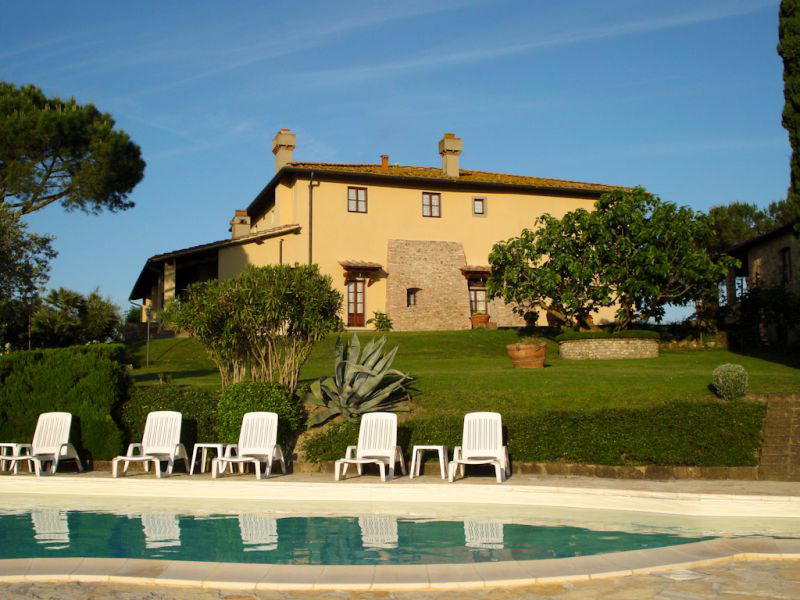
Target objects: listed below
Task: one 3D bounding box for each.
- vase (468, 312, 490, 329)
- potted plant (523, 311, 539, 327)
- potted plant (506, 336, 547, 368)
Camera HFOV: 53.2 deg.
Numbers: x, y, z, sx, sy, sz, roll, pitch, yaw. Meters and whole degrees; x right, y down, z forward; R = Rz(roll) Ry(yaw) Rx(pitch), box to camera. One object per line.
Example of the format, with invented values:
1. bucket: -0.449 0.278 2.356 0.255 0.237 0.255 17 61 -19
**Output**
1. vase: 3.768 1.004 38.231 0.677 0.518 0.726 -1 -8 7
2. potted plant: 5.957 0.860 36.509 0.549 0.661 0.597 1 -17 33
3. potted plant: 4.036 1.777 25.852 1.062 0.777 1.133 1 -10 -3
